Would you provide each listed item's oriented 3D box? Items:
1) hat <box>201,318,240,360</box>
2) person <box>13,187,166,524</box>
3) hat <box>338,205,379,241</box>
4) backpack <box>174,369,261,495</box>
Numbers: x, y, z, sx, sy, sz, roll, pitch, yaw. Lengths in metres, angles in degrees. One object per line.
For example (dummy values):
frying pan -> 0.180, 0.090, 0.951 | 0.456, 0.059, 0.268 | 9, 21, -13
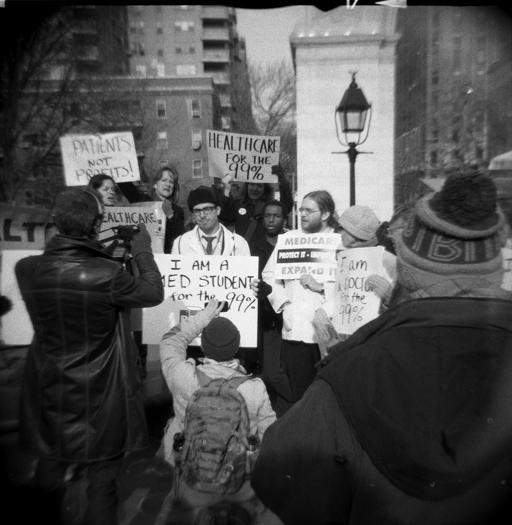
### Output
hat -> -0.205, 0.456, 3.809 | 0.191, 0.197, 0.236 | 3, 3, -10
person -> -1.009, 0.566, 3.889 | 0.863, 1.946, 0.656 | -3, 10, -10
hat -> 0.737, -0.270, 4.628 | 0.265, 0.208, 0.147 | -11, -24, -41
backpack -> -0.223, 0.966, 3.554 | 0.397, 0.597, 0.581 | 0, -6, 4
